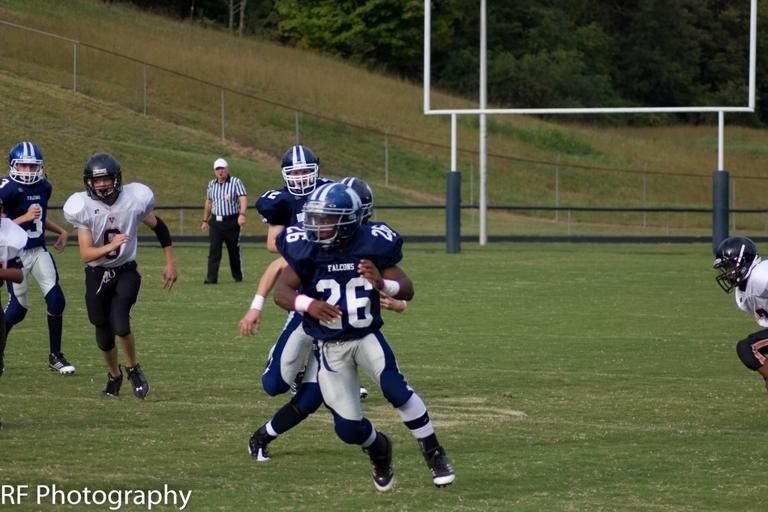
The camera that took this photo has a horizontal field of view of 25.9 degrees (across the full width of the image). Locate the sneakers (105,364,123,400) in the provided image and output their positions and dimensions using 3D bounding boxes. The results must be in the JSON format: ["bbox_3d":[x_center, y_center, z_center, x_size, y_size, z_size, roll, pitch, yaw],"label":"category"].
[{"bbox_3d":[-5.060,2.364,30.926,0.253,0.533,0.274,3,-2,-6],"label":"sneakers"}]
